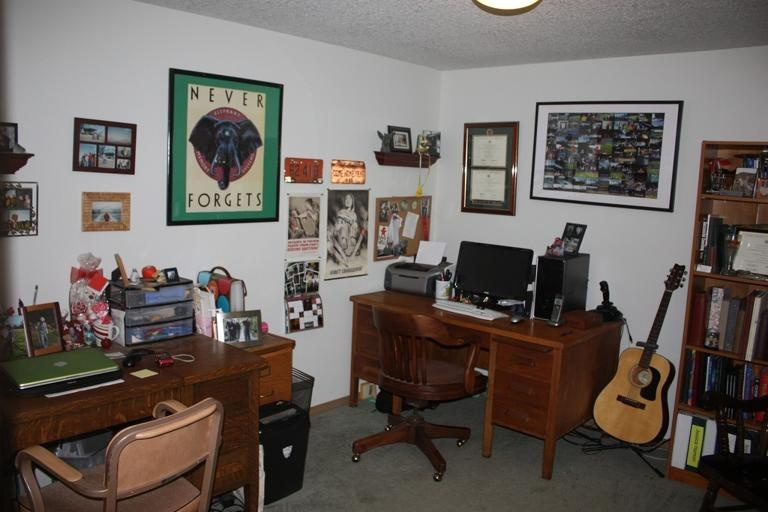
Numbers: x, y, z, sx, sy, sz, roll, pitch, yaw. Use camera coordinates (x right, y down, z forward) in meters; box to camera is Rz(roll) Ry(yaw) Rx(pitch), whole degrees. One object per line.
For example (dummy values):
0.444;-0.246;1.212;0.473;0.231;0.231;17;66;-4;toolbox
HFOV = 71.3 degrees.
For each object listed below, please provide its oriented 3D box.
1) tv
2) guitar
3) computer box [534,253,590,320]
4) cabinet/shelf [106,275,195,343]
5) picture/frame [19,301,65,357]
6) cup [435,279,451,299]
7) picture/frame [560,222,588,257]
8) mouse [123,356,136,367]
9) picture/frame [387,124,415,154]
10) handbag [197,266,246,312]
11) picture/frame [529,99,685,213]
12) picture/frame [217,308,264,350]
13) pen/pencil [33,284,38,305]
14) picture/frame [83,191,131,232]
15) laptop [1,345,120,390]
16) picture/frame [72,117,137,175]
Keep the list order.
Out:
0.928;0.177;4.553;0.491;0.361;0.147;11;-2;41;tv
1.982;0.737;3.968;0.576;1.447;0.204;22;7;39;guitar
1.433;0.224;4.334;0.273;0.484;0.402;10;16;40;computer box
-1.443;0.324;3.413;0.610;0.488;0.349;-3;5;-40;cabinet/shelf
-1.976;0.429;3.093;0.285;0.381;0.028;-5;3;-43;picture/frame
0.510;0.298;4.717;0.138;0.155;0.147;2;4;0;cup
1.523;-0.136;4.370;0.175;0.232;0.260;6;12;36;picture/frame
-1.433;0.593;3.031;0.054;0.028;0.053;1;4;-23;mouse
0.136;-1.049;4.826;0.023;0.269;0.314;-3;4;41;picture/frame
-1.139;0.232;3.713;0.306;0.257;0.131;6;8;43;handbag
1.888;-0.833;4.429;0.944;0.671;0.020;11;10;36;picture/frame
-0.970;0.497;3.593;0.272;0.212;0.026;3;-3;-36;picture/frame
-2.129;0.234;3.281;0.028;0.121;0.029;5;-1;-17;pen/pencil
-1.804;-0.288;3.464;0.267;0.249;0.019;-3;11;-36;picture/frame
-1.733;0.592;2.872;0.511;0.075;0.343;-8;12;-36;laptop
-1.802;-0.704;3.424;0.405;0.386;0.015;-2;9;-40;picture/frame
